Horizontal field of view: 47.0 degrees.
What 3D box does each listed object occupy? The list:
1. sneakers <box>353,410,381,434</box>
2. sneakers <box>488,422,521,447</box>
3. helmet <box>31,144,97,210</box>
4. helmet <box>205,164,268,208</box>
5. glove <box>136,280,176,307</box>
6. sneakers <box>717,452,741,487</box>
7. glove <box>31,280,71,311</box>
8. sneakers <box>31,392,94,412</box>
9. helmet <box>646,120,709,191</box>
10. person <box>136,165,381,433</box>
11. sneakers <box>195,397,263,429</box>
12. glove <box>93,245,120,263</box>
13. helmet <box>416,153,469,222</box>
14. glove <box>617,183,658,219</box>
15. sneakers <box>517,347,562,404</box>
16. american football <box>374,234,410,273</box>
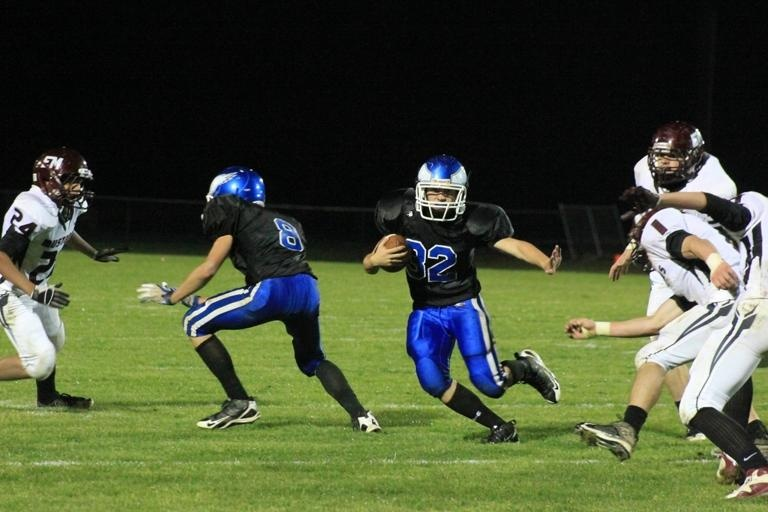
[{"bbox_3d":[-0.131,1.269,6.684,0.205,0.133,0.126,-2,-3,24],"label":"sneakers"},{"bbox_3d":[0.890,1.310,6.527,0.304,0.126,0.102,-1,5,-13],"label":"sneakers"},{"bbox_3d":[-2.608,-0.659,7.127,0.504,0.449,0.379,12,7,-6],"label":"helmet"},{"bbox_3d":[-1.183,-0.525,7.053,0.481,0.375,0.352,-1,-12,9],"label":"helmet"},{"bbox_3d":[-1.712,0.283,6.654,0.250,0.183,0.337,-5,11,-20],"label":"glove"},{"bbox_3d":[2.266,1.412,5.830,0.097,0.255,0.117,-3,49,10],"label":"sneakers"},{"bbox_3d":[-2.524,0.321,6.670,0.276,0.217,0.074,26,-33,5],"label":"glove"},{"bbox_3d":[-2.576,1.164,7.115,0.447,0.179,0.159,-3,-12,1],"label":"sneakers"},{"bbox_3d":[2.220,-0.796,6.633,0.478,0.392,0.364,-22,20,-28],"label":"helmet"},{"bbox_3d":[-0.944,0.426,6.753,1.536,1.766,0.471,-1,10,0],"label":"person"},{"bbox_3d":[-1.148,1.196,6.732,0.560,0.235,0.190,-6,3,-10],"label":"sneakers"},{"bbox_3d":[-3.091,-0.024,9.826,0.306,0.094,0.288,5,-13,-25],"label":"glove"},{"bbox_3d":[0.436,-0.521,6.749,0.402,0.415,0.516,3,12,0],"label":"helmet"},{"bbox_3d":[1.694,-0.373,5.907,0.224,0.152,0.341,6,6,0],"label":"glove"},{"bbox_3d":[1.328,1.046,7.565,0.158,0.469,0.204,-45,-3,39],"label":"sneakers"},{"bbox_3d":[0.088,-0.023,6.641,0.254,0.276,0.248,1,-9,2],"label":"american football"}]
